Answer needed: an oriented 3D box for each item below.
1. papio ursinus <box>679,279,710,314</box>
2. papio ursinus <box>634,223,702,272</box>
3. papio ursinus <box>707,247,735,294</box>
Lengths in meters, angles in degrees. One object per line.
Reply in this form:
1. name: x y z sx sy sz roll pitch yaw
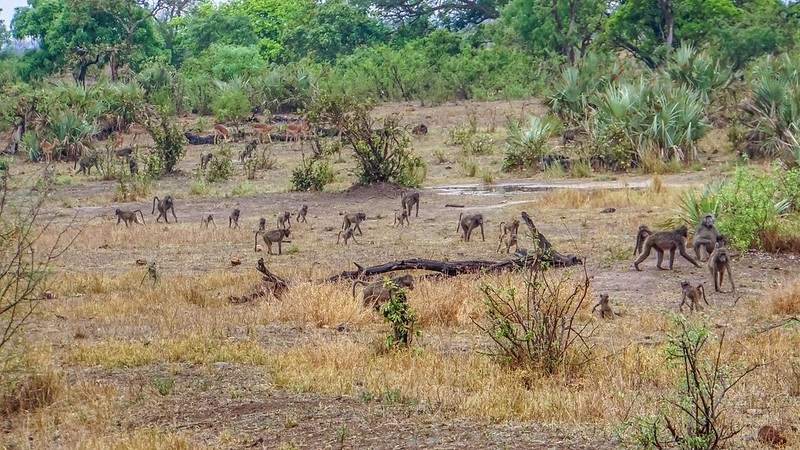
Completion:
1. papio ursinus: 9.525 2.267 32.860 0.363 0.880 1.550 0 4 -15
2. papio ursinus: 9.231 0.791 34.767 2.156 1.661 0.627 1 17 7
3. papio ursinus: 10.750 1.475 33.546 0.841 1.536 1.064 -3 8 17
